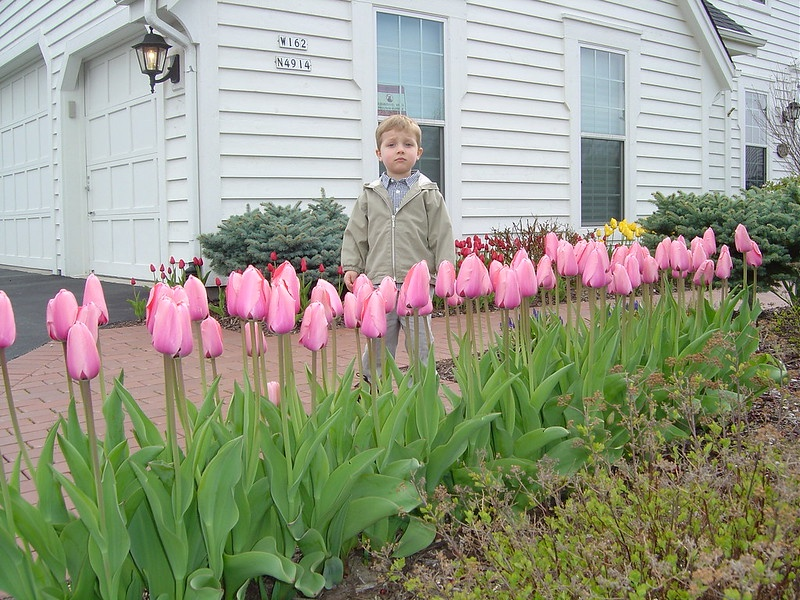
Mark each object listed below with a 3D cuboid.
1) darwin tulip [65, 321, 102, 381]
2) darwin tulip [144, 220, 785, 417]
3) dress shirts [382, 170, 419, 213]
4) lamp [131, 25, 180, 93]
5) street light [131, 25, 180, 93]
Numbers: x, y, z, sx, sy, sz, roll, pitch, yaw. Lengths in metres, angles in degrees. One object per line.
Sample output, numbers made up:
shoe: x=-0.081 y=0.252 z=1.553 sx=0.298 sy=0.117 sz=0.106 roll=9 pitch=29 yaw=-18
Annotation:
darwin tulip: x=-0.930 y=0.149 z=1.752 sx=0.087 sy=0.122 sz=0.176 roll=-3 pitch=2 yaw=-30
darwin tulip: x=0.420 y=0.086 z=3.651 sx=2.393 sy=0.694 sz=1.322 roll=-10 pitch=8 yaw=-25
dress shirts: x=-0.001 y=-0.792 z=4.394 sx=0.202 sy=0.354 sz=0.182 roll=-1 pitch=-14 yaw=5
lamp: x=-3.211 y=-3.325 z=7.904 sx=0.444 sy=0.938 sz=0.559 roll=15 pitch=21 yaw=16
street light: x=-3.264 y=-3.295 z=8.005 sx=0.528 sy=0.758 sz=0.676 roll=-3 pitch=3 yaw=-32
